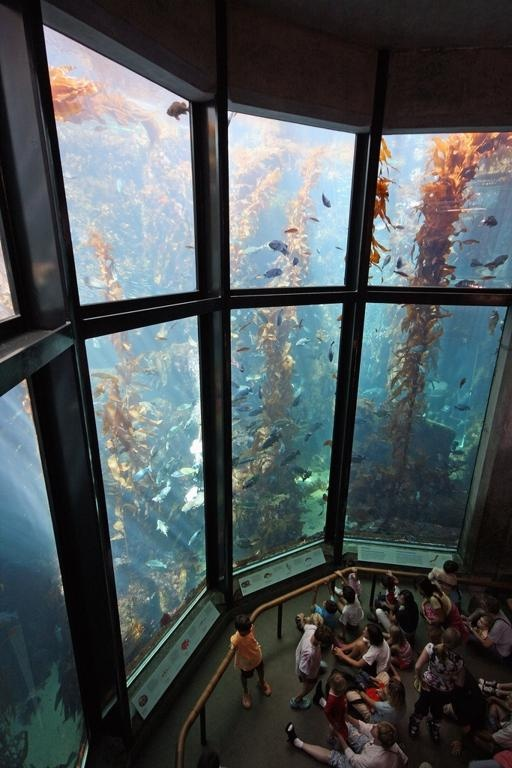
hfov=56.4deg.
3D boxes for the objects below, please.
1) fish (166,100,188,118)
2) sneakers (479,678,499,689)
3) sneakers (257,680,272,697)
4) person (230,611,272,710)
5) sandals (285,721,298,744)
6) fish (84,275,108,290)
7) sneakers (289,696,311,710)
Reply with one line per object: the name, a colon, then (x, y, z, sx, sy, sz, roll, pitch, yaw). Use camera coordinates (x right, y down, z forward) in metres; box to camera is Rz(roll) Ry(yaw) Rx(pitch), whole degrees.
fish: (-0.562, -1.978, 3.466, 0.035, 0.144, 0.296, 6, 17, 16)
sneakers: (1.902, 2.458, 3.914, 0.138, 0.108, 0.055, 0, 48, 43)
sneakers: (0.083, 2.621, 4.114, 0.063, 0.092, 0.132, 2, -22, -13)
person: (-0.050, 2.196, 3.808, 0.171, 0.817, 0.340, 6, 24, 38)
sandals: (0.278, 2.670, 3.677, 0.046, 0.183, 0.069, 11, -10, -18)
fish: (-0.963, -0.601, 2.875, 0.003, 0.085, 0.214, 6, 17, 18)
sneakers: (0.372, 2.629, 3.985, 0.141, 0.068, 0.096, -6, 15, 7)
